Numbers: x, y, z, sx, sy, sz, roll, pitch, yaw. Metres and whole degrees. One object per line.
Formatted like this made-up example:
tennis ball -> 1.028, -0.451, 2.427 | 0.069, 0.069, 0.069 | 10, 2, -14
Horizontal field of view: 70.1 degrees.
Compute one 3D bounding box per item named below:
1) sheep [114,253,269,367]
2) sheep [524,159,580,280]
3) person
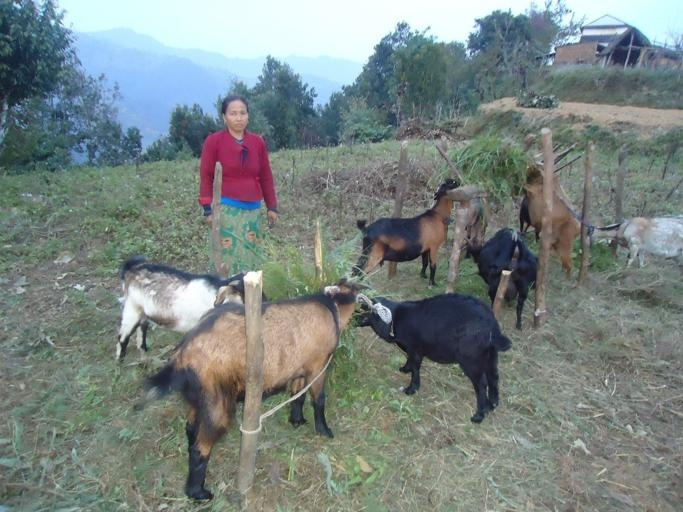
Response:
sheep -> -2.061, 0.766, 6.657 | 2.058, 1.671, 0.845 | 10, 12, 14
sheep -> 3.710, -0.596, 8.679 | 0.881, 2.104, 1.742 | 12, 19, 43
person -> -1.474, -0.699, 6.982 | 0.955, 3.210, 0.659 | -5, 29, -21
